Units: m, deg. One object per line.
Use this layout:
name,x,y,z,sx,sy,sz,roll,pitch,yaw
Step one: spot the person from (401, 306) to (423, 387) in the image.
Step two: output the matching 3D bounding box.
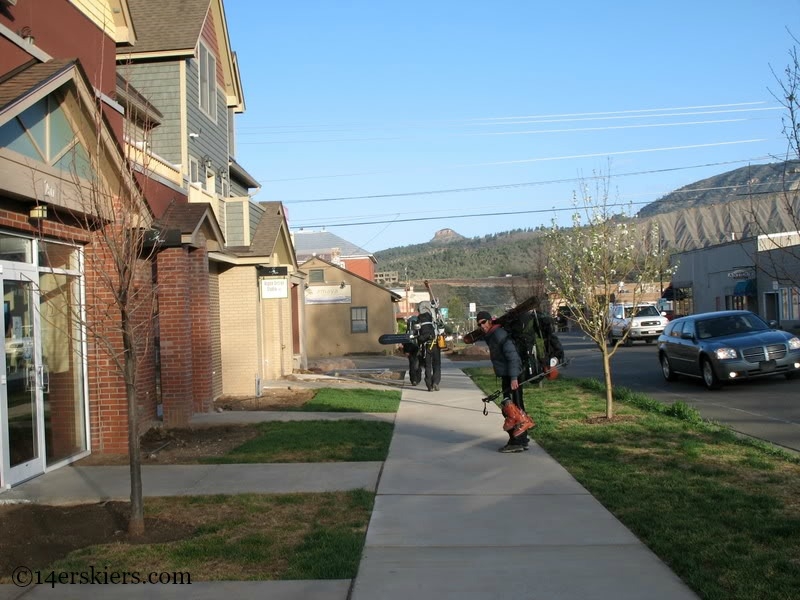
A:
person,0.385,1.281,20.896,0.574,1.872,0.729,0,-17,-1

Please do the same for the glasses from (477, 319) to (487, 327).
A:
glasses,1.330,0.359,11.891,0.119,0.066,0.111,-43,3,-40

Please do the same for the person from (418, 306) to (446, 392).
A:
person,0.809,1.232,20.435,0.807,1.230,2.010,-5,8,2

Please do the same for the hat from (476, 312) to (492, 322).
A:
hat,1.358,0.248,11.943,0.207,0.168,0.154,11,-22,-35

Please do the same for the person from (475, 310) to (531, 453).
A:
person,1.840,1.506,13.045,0.781,2.336,1.519,-1,-20,-6

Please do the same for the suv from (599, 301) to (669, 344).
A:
suv,9.368,0.957,29.359,1.802,1.555,3.352,-1,-4,-11
